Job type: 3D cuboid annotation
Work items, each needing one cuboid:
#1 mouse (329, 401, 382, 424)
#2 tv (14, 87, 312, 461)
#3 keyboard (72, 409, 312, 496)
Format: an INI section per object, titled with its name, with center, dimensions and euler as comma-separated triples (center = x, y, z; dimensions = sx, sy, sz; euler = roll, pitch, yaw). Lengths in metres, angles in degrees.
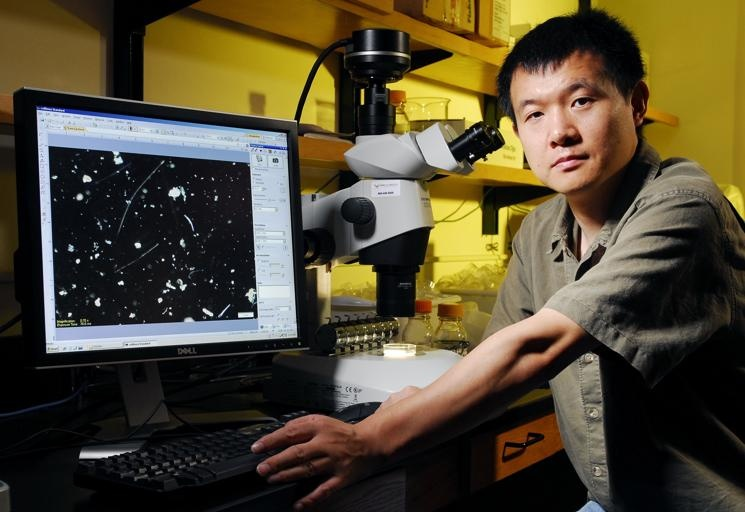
[mouse]
center = -0.030, 0.316, 1.277
dimensions = 0.067, 0.018, 0.038
euler = -7, 8, -35
[tv]
center = -0.411, -0.062, 1.270
dimensions = 0.554, 0.538, 0.100
euler = -3, 5, -24
[keyboard]
center = -0.313, 0.324, 1.087
dimensions = 0.215, 0.068, 0.271
euler = 2, 5, 35
